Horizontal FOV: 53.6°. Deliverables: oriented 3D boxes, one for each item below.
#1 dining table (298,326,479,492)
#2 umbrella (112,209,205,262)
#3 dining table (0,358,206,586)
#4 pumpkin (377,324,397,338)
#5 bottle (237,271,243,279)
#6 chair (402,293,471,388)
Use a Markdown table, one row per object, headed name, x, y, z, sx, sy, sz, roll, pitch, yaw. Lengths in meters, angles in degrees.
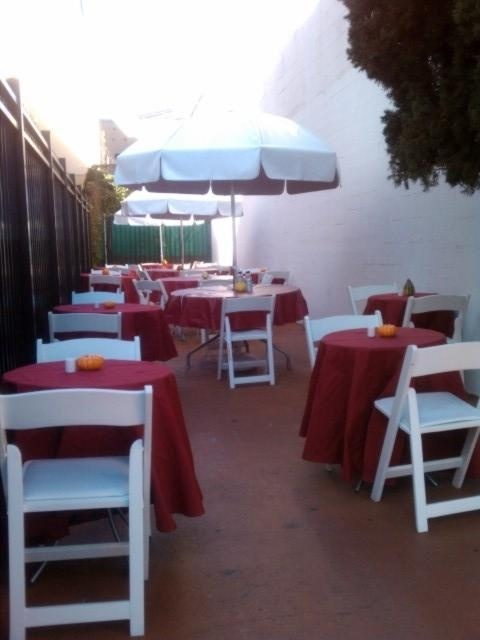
| name | x | y | z | sx | sy | sz | roll | pitch | yaw |
| --- | --- | --- | --- | --- | --- | --- | --- | --- | --- |
| dining table | 0.645 | 0.428 | 2.411 | 0.674 | 0.675 | 0.782 | 3 | 16 | 10 |
| umbrella | -4.098 | -3.363 | 19.450 | 2.137 | 1.899 | 2.383 | 5 | 6 | 24 |
| dining table | -0.483 | 0.443 | 1.806 | 0.570 | 0.585 | 0.720 | 0 | 4 | 1 |
| pumpkin | 0.828 | 0.064 | 2.710 | 0.064 | 0.045 | 0.082 | -1 | 4 | 4 |
| bottle | -0.002 | -0.527 | 5.745 | 0.078 | 0.048 | 0.089 | -6 | 24 | -22 |
| chair | 1.582 | 0.122 | 3.967 | 0.434 | 0.864 | 0.526 | -4 | 18 | 7 |
